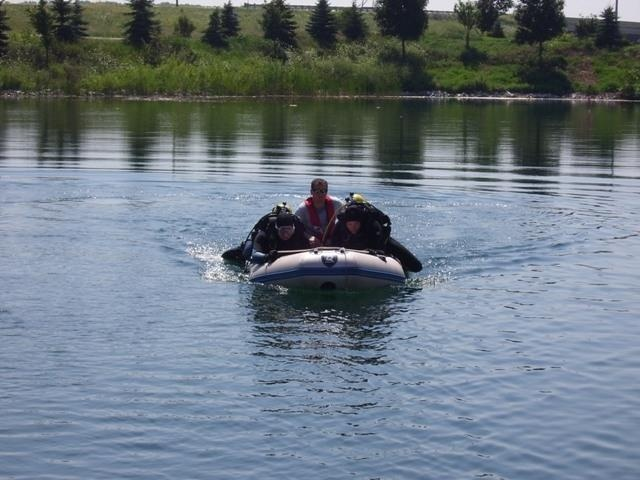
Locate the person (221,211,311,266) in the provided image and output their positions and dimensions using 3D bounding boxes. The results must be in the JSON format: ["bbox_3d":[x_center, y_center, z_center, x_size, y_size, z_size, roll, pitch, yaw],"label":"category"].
[{"bbox_3d":[-1.144,0.002,27.339,1.357,0.584,1.541,-4,-1,-23],"label":"person"}]
